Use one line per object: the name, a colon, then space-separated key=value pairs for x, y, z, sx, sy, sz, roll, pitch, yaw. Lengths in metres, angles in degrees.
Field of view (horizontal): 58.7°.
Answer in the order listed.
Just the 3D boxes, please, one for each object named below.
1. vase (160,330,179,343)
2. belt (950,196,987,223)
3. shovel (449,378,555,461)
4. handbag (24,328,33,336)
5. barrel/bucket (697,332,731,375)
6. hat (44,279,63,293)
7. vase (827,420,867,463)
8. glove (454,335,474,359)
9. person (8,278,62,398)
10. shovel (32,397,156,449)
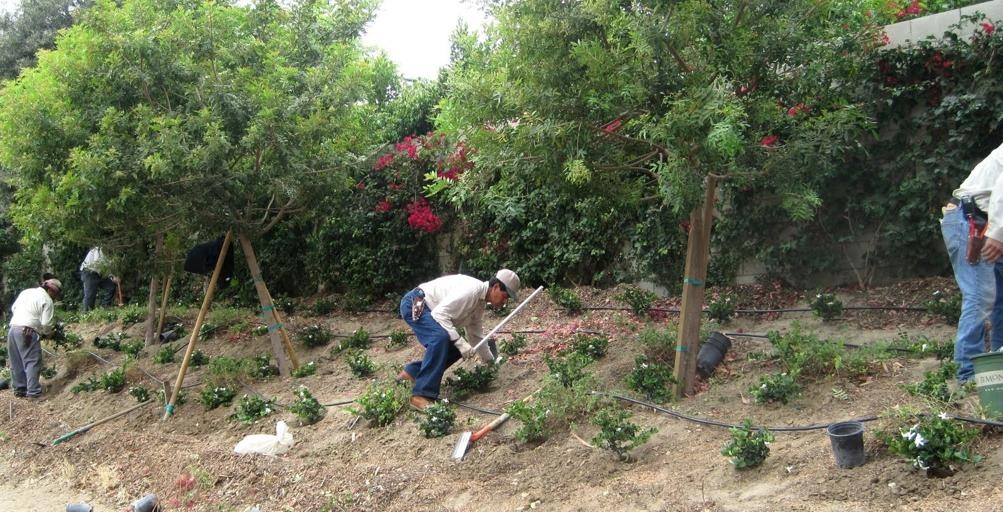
vase: x=-8.153 y=1.957 z=22.034 sx=0.322 sy=0.315 sz=0.489 roll=5 pitch=1 yaw=31
belt: x=8.119 y=-0.804 z=15.570 sx=0.368 sy=0.449 sz=0.194 roll=-26 pitch=7 yaw=44
shovel: x=-0.206 y=3.030 z=16.322 sx=1.794 sy=0.183 sz=0.623 roll=-26 pitch=35 yaw=-25
handbag: x=-10.669 y=1.697 z=20.154 sx=0.177 sy=0.169 sz=0.047 roll=9 pitch=-7 yaw=-25
barrel/bucket: x=3.960 y=1.838 z=16.817 sx=0.666 sy=0.458 sz=0.460 roll=-44 pitch=29 yaw=-24
hat: x=-10.304 y=0.652 z=20.614 sx=0.354 sy=0.340 sz=0.403 roll=6 pitch=-9 yaw=39
vase: x=5.727 y=3.126 z=14.826 sx=0.627 sy=0.597 sz=0.608 roll=-7 pitch=6 yaw=38
glove: x=-0.734 y=1.738 z=17.122 sx=0.299 sy=0.404 sz=0.183 roll=-34 pitch=1 yaw=-14
person: x=-10.736 y=1.827 z=20.472 sx=1.090 sy=2.727 sz=0.833 roll=2 pitch=-7 yaw=-11
shovel: x=-8.464 y=3.522 z=18.746 sx=2.146 sy=0.285 sz=0.349 roll=-17 pitch=14 yaw=-27
